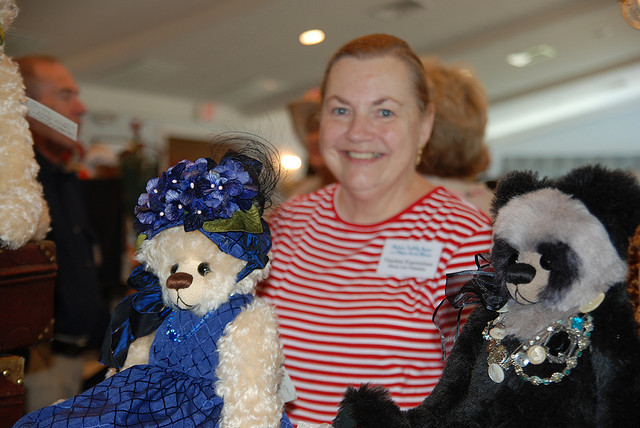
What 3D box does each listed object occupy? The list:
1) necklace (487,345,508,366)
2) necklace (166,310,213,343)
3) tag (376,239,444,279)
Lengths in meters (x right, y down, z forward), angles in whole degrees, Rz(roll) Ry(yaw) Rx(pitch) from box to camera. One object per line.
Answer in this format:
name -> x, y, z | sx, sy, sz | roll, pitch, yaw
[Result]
necklace -> 0.479, 0.364, 1.712 | 0.017, 0.052, 0.040 | 29, -6, -38
necklace -> -0.363, 0.322, 1.903 | 0.090, 0.115, 0.028 | 48, 6, 39
tag -> 0.300, 0.138, 2.095 | 0.196, 0.011, 0.275 | 6, 19, 14
